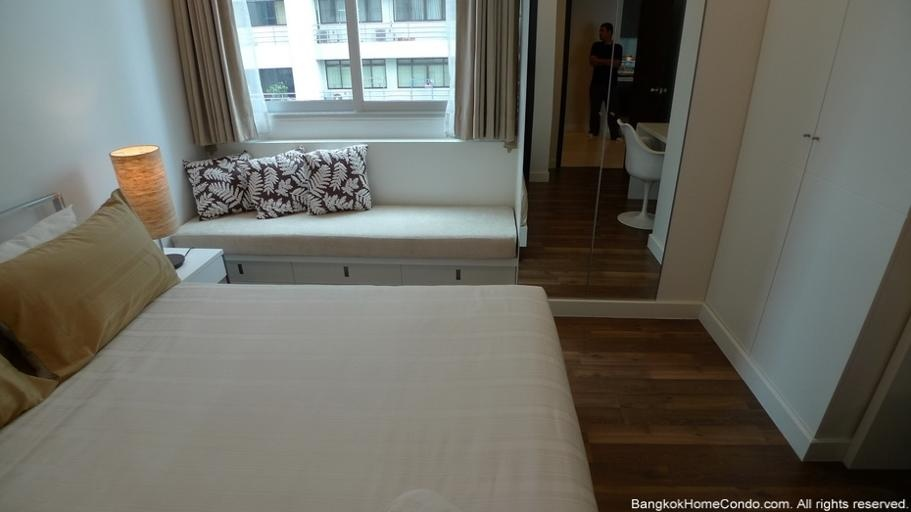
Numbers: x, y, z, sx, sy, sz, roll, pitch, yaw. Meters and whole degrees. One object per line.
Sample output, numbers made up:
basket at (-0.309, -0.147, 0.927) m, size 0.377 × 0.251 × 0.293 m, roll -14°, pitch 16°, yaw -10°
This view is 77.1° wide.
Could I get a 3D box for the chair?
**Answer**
chair at (1.310, -0.573, 4.140) m, size 0.339 × 0.795 × 0.147 m, roll 5°, pitch 28°, yaw 12°
